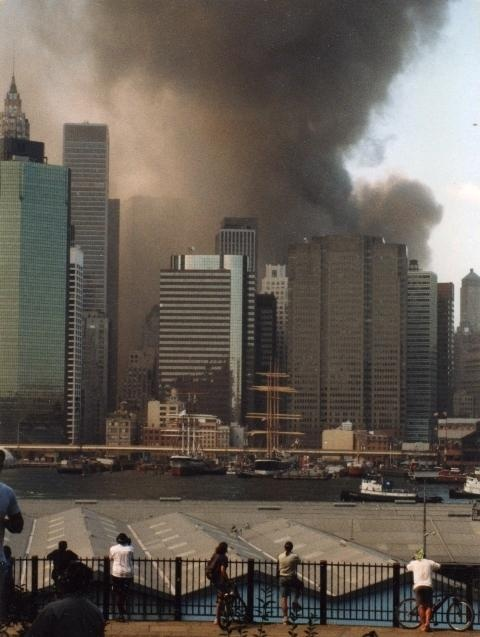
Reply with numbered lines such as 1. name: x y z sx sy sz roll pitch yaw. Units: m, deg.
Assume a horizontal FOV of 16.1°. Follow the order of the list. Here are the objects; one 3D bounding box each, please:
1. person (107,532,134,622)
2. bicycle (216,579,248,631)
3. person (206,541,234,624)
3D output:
1. person: -3.929 8.186 54.649 0.816 3.105 0.772 2 -5 -12
2. bicycle: -0.336 9.054 53.743 0.699 1.041 1.634 0 -12 3
3. person: -0.754 8.339 54.155 0.737 2.682 0.805 1 -5 -8
